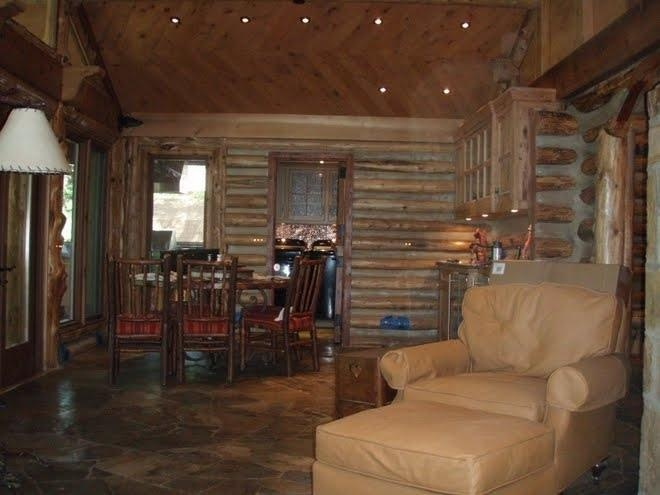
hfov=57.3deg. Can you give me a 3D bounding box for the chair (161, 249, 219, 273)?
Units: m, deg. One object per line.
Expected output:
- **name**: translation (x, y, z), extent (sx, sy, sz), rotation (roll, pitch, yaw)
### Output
- **chair**: translation (-1.612, 0.228, 6.851), extent (0.330, 0.449, 0.537), rotation (0, 1, 28)

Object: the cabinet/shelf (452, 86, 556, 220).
- **cabinet/shelf**: translation (2.000, -0.965, 7.106), extent (0.617, 1.253, 2.154), rotation (0, 0, -4)

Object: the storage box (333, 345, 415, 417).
- **storage box**: translation (0.311, 1.031, 4.614), extent (0.344, 0.489, 0.553), rotation (1, 0, 24)

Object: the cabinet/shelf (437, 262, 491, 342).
- **cabinet/shelf**: translation (1.580, 0.700, 7.492), extent (0.558, 0.998, 0.640), rotation (17, -1, -15)
